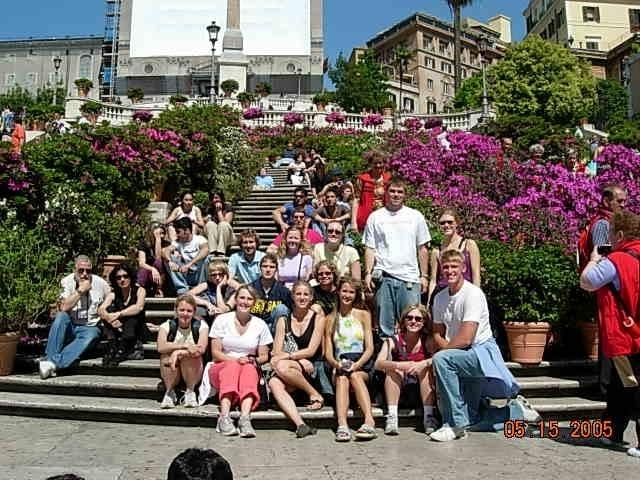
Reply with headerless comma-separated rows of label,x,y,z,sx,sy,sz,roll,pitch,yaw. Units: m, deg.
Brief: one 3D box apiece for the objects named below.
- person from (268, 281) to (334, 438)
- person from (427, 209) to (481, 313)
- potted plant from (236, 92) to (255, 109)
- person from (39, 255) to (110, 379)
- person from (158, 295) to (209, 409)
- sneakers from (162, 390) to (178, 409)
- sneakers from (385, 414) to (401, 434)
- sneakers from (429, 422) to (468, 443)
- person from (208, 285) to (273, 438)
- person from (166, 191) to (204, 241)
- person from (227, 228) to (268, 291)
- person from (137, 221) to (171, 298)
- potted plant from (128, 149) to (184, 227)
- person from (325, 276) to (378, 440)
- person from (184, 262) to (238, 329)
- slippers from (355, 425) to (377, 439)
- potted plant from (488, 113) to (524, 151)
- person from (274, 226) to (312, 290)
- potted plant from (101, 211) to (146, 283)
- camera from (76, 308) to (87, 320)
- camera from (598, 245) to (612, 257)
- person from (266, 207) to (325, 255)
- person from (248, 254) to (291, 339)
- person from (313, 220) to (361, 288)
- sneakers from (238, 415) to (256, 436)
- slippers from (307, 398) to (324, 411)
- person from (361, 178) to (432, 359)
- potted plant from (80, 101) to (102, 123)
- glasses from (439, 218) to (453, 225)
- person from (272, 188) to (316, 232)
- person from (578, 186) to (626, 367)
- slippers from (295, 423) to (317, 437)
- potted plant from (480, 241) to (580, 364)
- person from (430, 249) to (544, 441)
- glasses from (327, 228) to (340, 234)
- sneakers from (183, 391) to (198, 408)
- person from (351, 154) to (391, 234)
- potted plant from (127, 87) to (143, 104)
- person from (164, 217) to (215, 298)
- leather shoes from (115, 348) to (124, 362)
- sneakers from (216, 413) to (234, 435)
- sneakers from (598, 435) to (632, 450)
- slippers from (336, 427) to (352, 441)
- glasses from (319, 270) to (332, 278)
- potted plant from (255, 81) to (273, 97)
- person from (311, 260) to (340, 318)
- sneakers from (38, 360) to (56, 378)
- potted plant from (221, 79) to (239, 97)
person,-0.285,1.607,11.524,0.780,1.874,0.965,0,1,-13
person,1.930,0.275,11.808,0.558,1.456,0.707,0,1,-3
potted plant,-4.074,-7.756,45.708,1.058,1.084,1.057,-2,2,-12
person,-3.824,1.144,12.675,0.829,1.787,0.904,0,1,6
person,-1.960,1.541,11.778,0.761,1.466,0.884,1,2,-15
sneakers,-2.113,2.200,11.469,0.223,0.217,0.293,1,-2,-11
sneakers,0.954,2.470,11.098,0.198,0.258,0.177,0,-2,21
sneakers,1.676,2.530,10.794,0.475,0.191,0.185,1,-5,-10
person,-1.130,1.685,11.404,0.998,1.809,1.167,2,1,-10
person,-2.629,-0.537,16.330,0.621,1.069,0.615,-1,3,-41
person,-1.182,0.345,13.301,0.771,0.947,0.531,-3,2,0
person,-2.964,0.378,14.565,0.554,1.481,0.875,-5,-15,-4
potted plant,-4.261,-1.337,19.711,1.556,2.137,1.938,-1,5,0
person,0.379,1.593,11.389,0.673,2.122,1.281,-1,-2,-2
person,-1.657,0.829,12.909,0.679,1.057,0.843,1,2,9
slippers,0.591,2.501,10.787,0.126,0.115,0.323,-9,-18,31
potted plant,8.025,-4.804,35.645,1.410,1.579,2.587,1,-2,4
person,-0.492,0.277,13.221,0.543,0.980,0.600,0,2,-14
potted plant,-3.983,0.041,16.605,0.684,1.675,0.641,-1,3,0
camera,-3.734,1.150,12.893,0.150,0.144,0.037,5,-13,-10
camera,3.934,0.138,11.387,0.176,0.159,0.168,-1,0,3
person,-0.421,-0.189,14.144,0.755,0.878,0.674,1,2,-19
person,-0.756,0.812,12.276,0.515,1.187,0.625,0,2,-9
person,0.269,0.200,12.914,0.569,1.019,0.610,0,3,-3
sneakers,-0.977,2.450,10.914,0.234,0.277,0.241,1,-2,-6
slippers,-0.072,2.247,11.377,0.217,0.154,0.237,1,-2,-1
person,1.096,0.406,12.333,0.809,2.601,0.782,1,2,-6
potted plant,-10.479,-5.893,37.524,0.945,1.348,2.638,1,-2,-17
glasses,1.804,-0.262,11.824,0.178,0.065,0.041,1,-2,7
person,-0.537,-0.621,16.258,0.703,0.991,0.634,-2,4,-21
person,3.984,0.400,11.517,0.633,2.281,0.690,-1,4,10
slippers,-0.209,2.505,10.910,0.351,0.116,0.153,13,-14,-42
potted plant,3.492,1.106,13.020,1.885,1.999,1.551,1,-13,-2
person,2.088,1.382,11.137,1.248,2.503,0.770,1,-2,1
glasses,0.200,-0.143,12.778,0.178,0.077,0.045,0,-2,10
sneakers,-1.826,2.200,11.543,0.201,0.215,0.285,1,-2,-10
person,0.888,-0.782,13.906,0.529,1.305,0.478,-4,5,-18
potted plant,-11.758,-9.161,52.358,0.813,1.078,2.563,1,-2,-10
person,-2.340,0.298,14.310,0.757,1.325,0.760,-6,5,-25
leather shoes,-3.046,1.742,12.520,0.120,0.168,0.221,1,-2,-14
sneakers,-1.254,2.446,10.965,0.231,0.246,0.227,2,-2,-21
sneakers,3.758,2.592,10.567,0.337,0.156,0.145,6,1,21
slippers,0.299,2.530,10.783,0.190,0.180,0.098,1,-2,1
glasses,0.069,0.501,12.238,0.177,0.094,0.037,1,-2,-1
potted plant,-3.863,-10.071,55.379,1.265,1.328,1.245,-2,-3,-1
person,0.033,0.833,12.294,0.594,1.052,0.601,-1,2,-2
sneakers,-4.044,1.898,12.182,0.231,0.254,0.242,1,-2,-15
potted plant,-5.301,-9.049,47.995,1.310,1.437,1.297,-2,6,-6
